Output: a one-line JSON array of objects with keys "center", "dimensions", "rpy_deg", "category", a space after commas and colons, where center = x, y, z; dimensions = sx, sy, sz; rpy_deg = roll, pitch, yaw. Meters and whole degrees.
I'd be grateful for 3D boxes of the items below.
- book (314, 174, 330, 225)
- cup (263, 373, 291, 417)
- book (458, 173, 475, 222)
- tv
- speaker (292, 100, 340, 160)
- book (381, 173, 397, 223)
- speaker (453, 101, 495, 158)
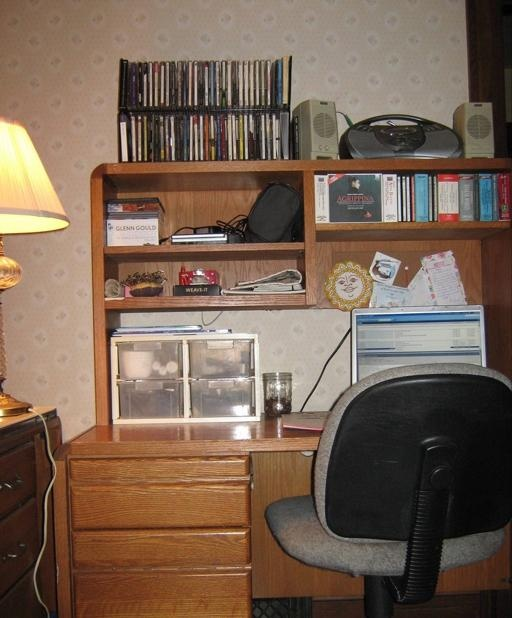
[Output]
[{"center": [0.229, -0.376, 2.059], "dimensions": [0.010, 0.157, 0.056], "rpy_deg": [-15, 18, -42], "category": "book"}, {"center": [0.080, 0.306, 2.192], "dimensions": [0.116, 0.147, 0.100], "rpy_deg": [-2, -2, 4], "category": "cup"}, {"center": [0.725, -0.377, 2.070], "dimensions": [0.060, 0.134, 0.160], "rpy_deg": [0, 6, 7], "category": "book"}, {"center": [0.557, 0.194, 2.060], "dimensions": [0.449, 0.266, 0.295], "rpy_deg": [2, 40, 9], "category": "tv"}, {"center": [0.219, -0.624, 2.152], "dimensions": [0.148, 0.210, 0.155], "rpy_deg": [-8, 11, -42], "category": "speaker"}, {"center": [0.457, -0.374, 2.069], "dimensions": [0.064, 0.177, 0.163], "rpy_deg": [0, 3, 6], "category": "book"}, {"center": [0.780, -0.634, 2.174], "dimensions": [0.123, 0.192, 0.119], "rpy_deg": [-6, 7, -14], "category": "speaker"}]
